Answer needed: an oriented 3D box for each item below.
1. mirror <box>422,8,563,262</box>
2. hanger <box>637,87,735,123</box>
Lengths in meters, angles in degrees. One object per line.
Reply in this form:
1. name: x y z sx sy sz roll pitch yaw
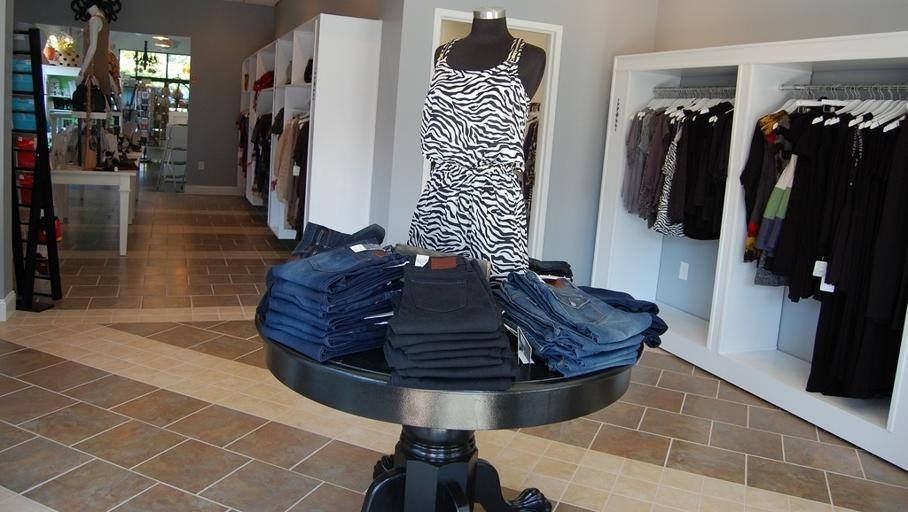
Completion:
1. mirror: 0.152 -0.814 3.784 0.803 1.634 0.748 5 14 6
2. hanger: 2.334 -1.539 5.665 0.504 0.188 0.669 -17 18 -41
